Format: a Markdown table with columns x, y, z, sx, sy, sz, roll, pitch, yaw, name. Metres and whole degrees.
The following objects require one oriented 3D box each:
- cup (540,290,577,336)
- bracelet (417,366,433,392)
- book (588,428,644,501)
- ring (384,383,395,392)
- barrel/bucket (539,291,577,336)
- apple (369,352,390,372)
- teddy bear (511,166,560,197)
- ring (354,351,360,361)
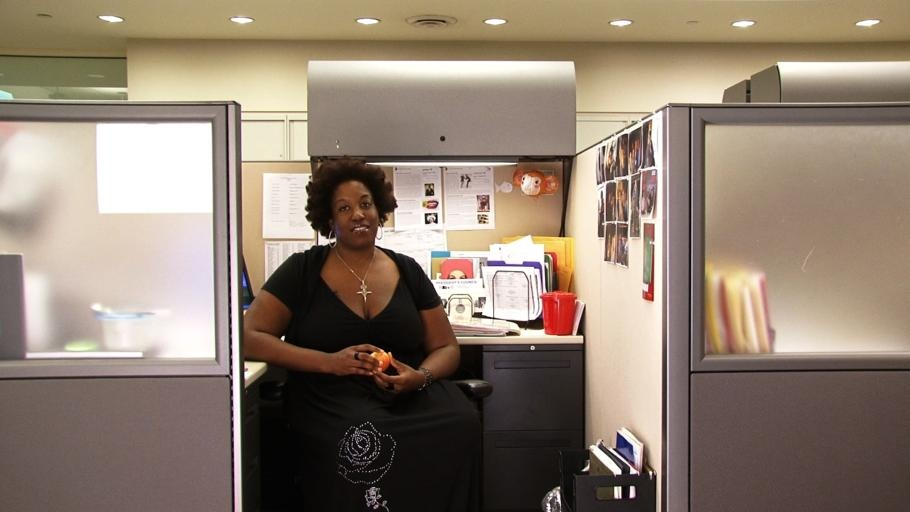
| x | y | z | sx | sy | sz | roll | pitch | yaw | name |
| --- | --- | --- | --- | --- | --- | --- | --- | --- | --- |
| 0.588 | 0.323 | 3.779 | 0.262 | 0.253 | 0.209 | -1 | 5 | -21 | cup |
| -0.140 | 0.608 | 3.236 | 0.070 | 0.097 | 0.103 | 2 | -5 | -43 | bracelet |
| 0.753 | 0.963 | 3.078 | 0.107 | 0.274 | 0.225 | 5 | -2 | -29 | book |
| -0.312 | 0.627 | 3.185 | 0.046 | 0.043 | 0.031 | 0 | 0 | 1 | ring |
| 0.588 | 0.328 | 3.765 | 0.265 | 0.248 | 0.204 | -1 | 4 | -17 | barrel/bucket |
| -0.349 | 0.501 | 3.182 | 0.116 | 0.093 | 0.060 | 0 | 0 | -28 | apple |
| 0.500 | -0.457 | 4.073 | 0.313 | 0.168 | 0.176 | 0 | -1 | 4 | teddy bear |
| -0.468 | 0.477 | 3.167 | 0.034 | 0.021 | 0.031 | 2 | 2 | 0 | ring |
